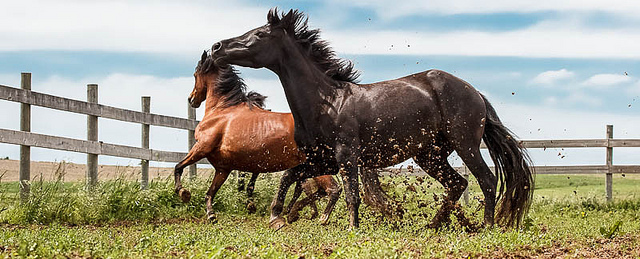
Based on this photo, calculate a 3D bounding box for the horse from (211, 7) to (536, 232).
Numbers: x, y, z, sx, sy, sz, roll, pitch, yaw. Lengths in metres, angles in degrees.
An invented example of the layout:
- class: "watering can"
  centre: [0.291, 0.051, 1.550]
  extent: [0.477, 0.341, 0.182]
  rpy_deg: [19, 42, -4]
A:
- class: "horse"
  centre: [1.287, 0.425, 31.275]
  extent: [10.187, 5.034, 2.102]
  rpy_deg: [1, -7, 0]
